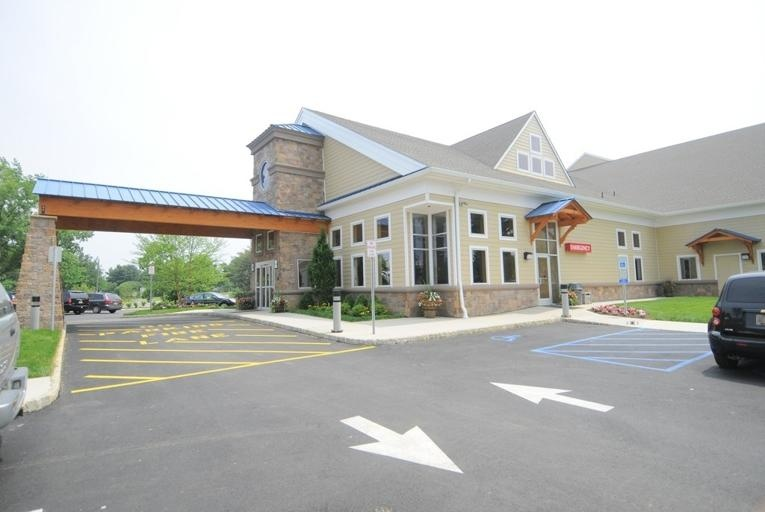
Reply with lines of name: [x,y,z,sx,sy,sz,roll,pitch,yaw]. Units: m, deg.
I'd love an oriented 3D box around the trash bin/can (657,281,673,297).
trash bin/can: [17.792,2.077,29.377,0.983,1.032,0.562,2,6,30]

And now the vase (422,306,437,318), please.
vase: [2.061,2.466,20.290,0.555,0.370,0.494,6,-13,-34]

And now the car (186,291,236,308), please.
car: [-15.998,3.957,42.277,3.481,0.903,4.590,-4,5,-35]

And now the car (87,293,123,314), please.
car: [-22.174,3.645,36.915,2.696,1.018,1.274,2,-2,27]
